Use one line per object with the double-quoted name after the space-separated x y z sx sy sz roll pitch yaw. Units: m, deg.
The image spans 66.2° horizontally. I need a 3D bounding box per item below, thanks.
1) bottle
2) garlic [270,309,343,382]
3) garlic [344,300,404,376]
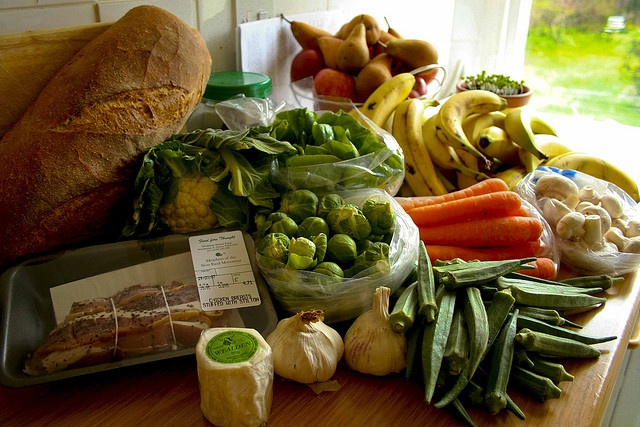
-0.265 -0.343 1.431 0.203 0.204 0.209 4 23 4 "bottle"
-0.027 0.256 0.988 0.135 0.141 0.129 -20 33 -40 "garlic"
0.105 0.254 0.992 0.093 0.150 0.113 5 20 2 "garlic"
